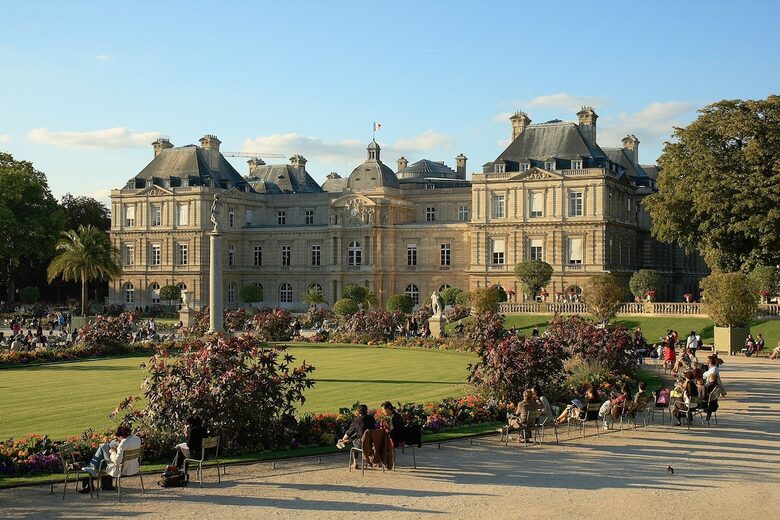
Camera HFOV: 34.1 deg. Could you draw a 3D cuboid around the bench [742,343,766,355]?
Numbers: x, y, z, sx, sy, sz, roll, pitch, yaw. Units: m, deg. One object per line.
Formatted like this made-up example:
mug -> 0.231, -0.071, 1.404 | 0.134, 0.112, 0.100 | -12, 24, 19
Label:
bench -> 19.194, 4.755, 66.875 | 0.520, 0.634, 1.624 | 2, 4, 44
